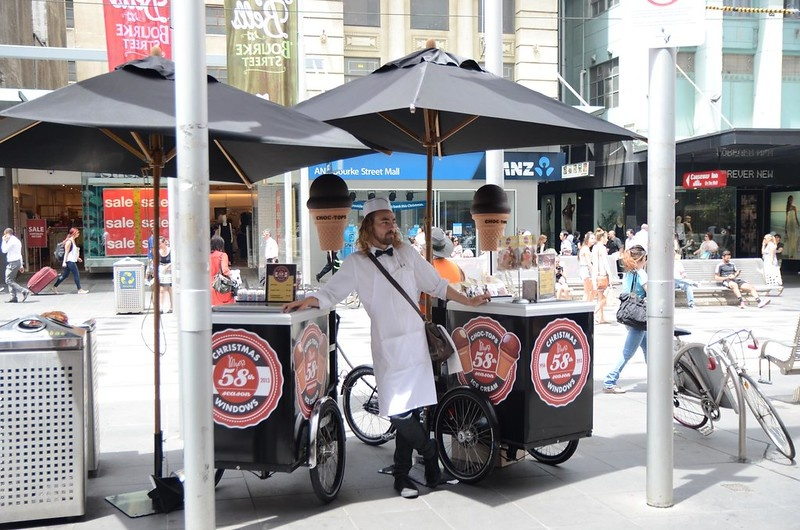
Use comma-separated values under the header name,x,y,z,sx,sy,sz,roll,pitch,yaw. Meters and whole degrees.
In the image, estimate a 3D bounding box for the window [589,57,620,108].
name,x,y,z,sx,sy,sz,roll,pitch,yaw
window,9.096,-7.972,34.729,0.090,1.957,1.798,-9,13,-30

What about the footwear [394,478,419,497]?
name,x,y,z,sx,sy,sz,roll,pitch,yaw
footwear,0.054,2.309,8.055,0.252,0.156,0.184,-1,7,-2

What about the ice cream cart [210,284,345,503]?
name,x,y,z,sx,sy,sz,roll,pitch,yaw
ice cream cart,-1.249,1.414,7.933,1.325,2.001,0.889,-2,6,-10

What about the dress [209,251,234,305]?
name,x,y,z,sx,sy,sz,roll,pitch,yaw
dress,-3.481,0.208,14.648,0.355,0.949,0.305,-2,7,18

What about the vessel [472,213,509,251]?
name,x,y,z,sx,sy,sz,roll,pitch,yaw
vessel,1.067,-0.417,9.278,0.438,0.516,0.462,0,1,6

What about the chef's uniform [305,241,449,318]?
name,x,y,z,sx,sy,sz,roll,pitch,yaw
chef's uniform,-0.277,0.070,8.348,0.828,1.031,1.995,-3,-1,-37

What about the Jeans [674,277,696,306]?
name,x,y,z,sx,sy,sz,roll,pitch,yaw
Jeans,7.150,0.677,19.560,0.377,0.813,0.238,-18,15,31

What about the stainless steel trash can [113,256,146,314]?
name,x,y,z,sx,sy,sz,roll,pitch,yaw
stainless steel trash can,-6.869,0.501,19.531,0.892,1.409,0.923,-1,2,6

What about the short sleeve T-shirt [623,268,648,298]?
name,x,y,z,sx,sy,sz,roll,pitch,yaw
short sleeve T-shirt,3.445,0.256,11.380,0.150,0.377,0.349,10,-12,-22

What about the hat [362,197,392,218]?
name,x,y,z,sx,sy,sz,roll,pitch,yaw
hat,-0.256,-0.609,8.178,0.214,0.144,0.213,-3,3,-36

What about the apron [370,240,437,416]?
name,x,y,z,sx,sy,sz,roll,pitch,yaw
apron,0.007,0.666,8.221,0.976,1.767,0.350,-11,-17,-2

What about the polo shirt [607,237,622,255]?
name,x,y,z,sx,sy,sz,roll,pitch,yaw
polo shirt,7.889,-0.708,28.735,0.391,0.770,0.654,-8,9,-37

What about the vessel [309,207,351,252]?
name,x,y,z,sx,sy,sz,roll,pitch,yaw
vessel,-0.814,-0.452,9.002,0.482,0.546,0.490,-3,8,-10
